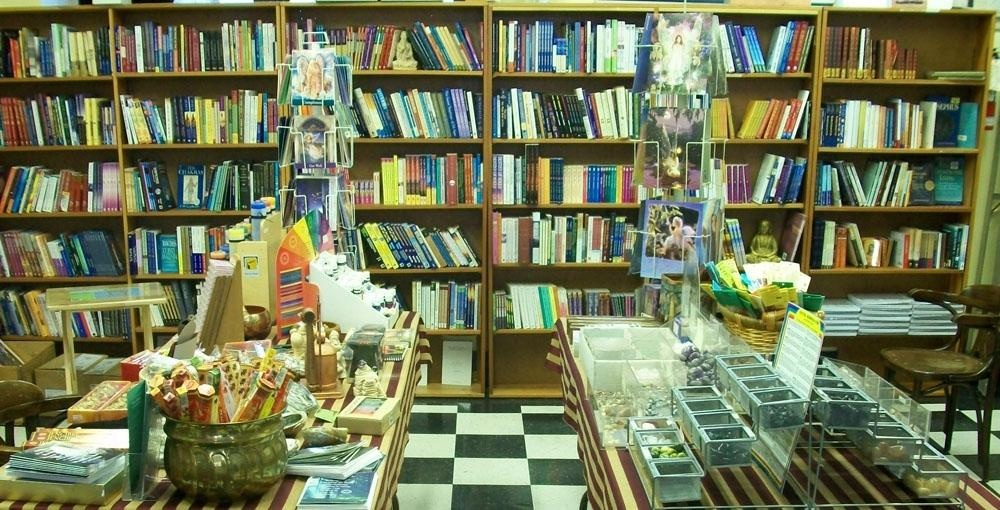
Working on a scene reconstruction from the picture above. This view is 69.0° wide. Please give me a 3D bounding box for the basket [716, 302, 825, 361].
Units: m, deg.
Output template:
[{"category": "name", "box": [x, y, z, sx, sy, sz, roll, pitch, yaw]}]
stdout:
[{"category": "basket", "box": [1.752, 0.499, 4.919, 0.458, 0.142, 0.465, 14, 3, 29]}]
